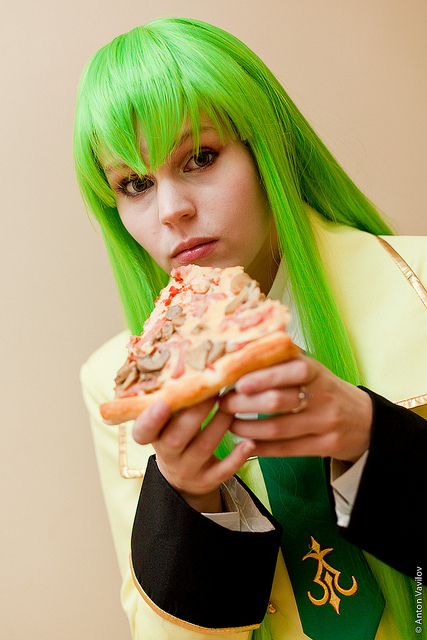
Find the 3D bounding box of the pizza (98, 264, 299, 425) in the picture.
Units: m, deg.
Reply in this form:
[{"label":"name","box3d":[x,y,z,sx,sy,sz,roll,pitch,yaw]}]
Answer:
[{"label":"pizza","box3d":[-0.008,0.029,0.570,0.205,0.050,0.200,6,50,40]}]

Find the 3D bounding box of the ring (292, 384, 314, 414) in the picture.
[{"label":"ring","box3d":[0.090,0.077,0.557,0.010,0.020,0.028,10,-9,0]}]

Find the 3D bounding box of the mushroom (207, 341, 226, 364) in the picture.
[{"label":"mushroom","box3d":[0.003,0.028,0.528,0.014,0.005,0.022,8,64,34]}]

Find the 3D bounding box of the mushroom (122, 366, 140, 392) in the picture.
[{"label":"mushroom","box3d":[-0.083,0.059,0.572,0.006,0.025,0.016,29,-12,-38]}]

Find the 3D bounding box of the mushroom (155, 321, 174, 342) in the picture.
[{"label":"mushroom","box3d":[-0.051,0.012,0.593,0.021,0.005,0.019,-20,41,28]}]

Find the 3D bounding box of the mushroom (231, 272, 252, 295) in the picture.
[{"label":"mushroom","box3d":[0.030,-0.042,0.600,0.023,0.008,0.022,-26,42,33]}]

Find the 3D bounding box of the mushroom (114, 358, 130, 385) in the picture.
[{"label":"mushroom","box3d":[-0.095,0.054,0.602,0.017,0.006,0.024,-38,29,46]}]

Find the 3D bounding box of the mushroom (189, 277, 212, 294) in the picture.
[{"label":"mushroom","box3d":[-0.011,-0.043,0.652,0.023,0.006,0.021,-22,34,10]}]

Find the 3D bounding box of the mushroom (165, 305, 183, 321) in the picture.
[{"label":"mushroom","box3d":[-0.042,-0.010,0.628,0.018,0.005,0.018,-34,35,-20]}]

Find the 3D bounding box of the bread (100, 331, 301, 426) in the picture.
[{"label":"bread","box3d":[-0.027,0.083,0.627,0.172,0.049,0.225,-19,-4,-22]}]
